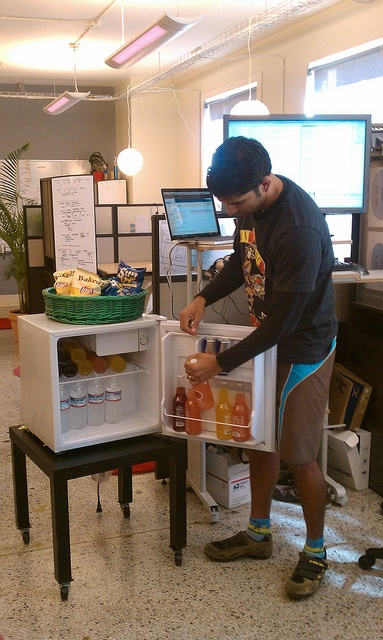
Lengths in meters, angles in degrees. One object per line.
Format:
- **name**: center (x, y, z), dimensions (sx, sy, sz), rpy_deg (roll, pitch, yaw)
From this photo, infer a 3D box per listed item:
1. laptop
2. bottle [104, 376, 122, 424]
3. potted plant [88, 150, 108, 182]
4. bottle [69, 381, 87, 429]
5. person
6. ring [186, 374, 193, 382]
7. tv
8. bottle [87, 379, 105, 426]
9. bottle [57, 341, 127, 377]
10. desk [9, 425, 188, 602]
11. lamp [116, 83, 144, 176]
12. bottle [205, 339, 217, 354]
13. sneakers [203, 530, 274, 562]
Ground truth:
- **laptop**: center (0.016, -0.507, 2.296), dimensions (0.339, 0.241, 0.257), rpy_deg (-9, 21, -44)
- **bottle**: center (-0.278, 0.287, 1.681), dimensions (0.052, 0.156, 0.039), rpy_deg (0, 3, -11)
- **potted plant**: center (-1.503, -2.429, 7.657), dimensions (0.268, 0.505, 0.265), rpy_deg (0, 3, -12)
- **bottle**: center (-0.384, 0.290, 1.607), dimensions (0.053, 0.157, 0.047), rpy_deg (0, 3, -14)
- **person**: center (0.203, 0.200, 1.497), dimensions (0.470, 1.400, 0.567), rpy_deg (1, 3, 17)
- **ring**: center (-0.007, 0.184, 1.475), dimensions (0.013, 0.026, 0.018), rpy_deg (-22, 18, -39)
- **tv**: center (0.435, -0.650, 1.928), dimensions (0.666, 0.489, 0.031), rpy_deg (-1, 13, -4)
- **bottle**: center (-0.329, 0.287, 1.655), dimensions (0.062, 0.155, 0.046), rpy_deg (-1, 3, -28)
- **bottle**: center (-0.350, 0.095, 1.628), dimensions (0.143, 0.156, 0.147), rpy_deg (-2, 8, -21)
- **desk**: center (-0.230, 0.658, 1.621), dimensions (0.508, 0.405, 0.528), rpy_deg (-17, -23, 8)
- **lamp**: center (-0.889, -2.696, 6.909), dimensions (0.300, 1.399, 1.261), rpy_deg (0, 3, -6)
- **bottle**: center (0.060, 0.082, 1.480), dimensions (0.033, 0.056, 0.041), rpy_deg (2, 3, 5)
- **sneakers**: center (0.175, 0.840, 1.831), dimensions (0.246, 0.115, 0.106), rpy_deg (3, -4, -4)
